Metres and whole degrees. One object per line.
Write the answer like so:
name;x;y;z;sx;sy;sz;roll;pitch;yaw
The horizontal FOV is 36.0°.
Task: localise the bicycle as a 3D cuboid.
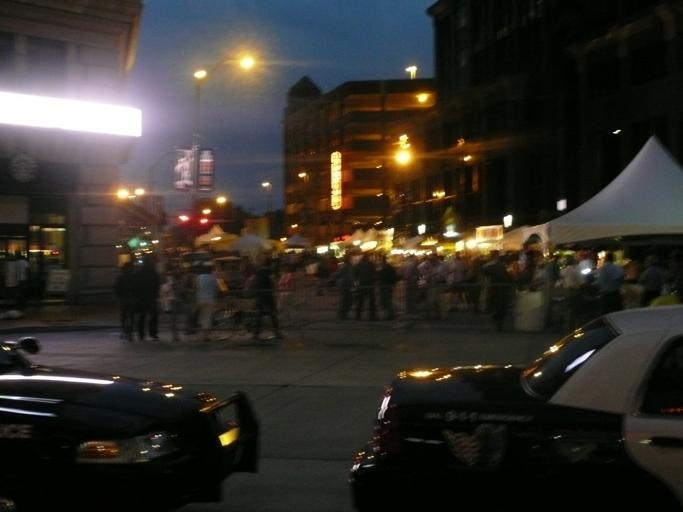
bicycle;-2.369;1.534;25.953;1.485;0.809;1.180;0;2;-13
